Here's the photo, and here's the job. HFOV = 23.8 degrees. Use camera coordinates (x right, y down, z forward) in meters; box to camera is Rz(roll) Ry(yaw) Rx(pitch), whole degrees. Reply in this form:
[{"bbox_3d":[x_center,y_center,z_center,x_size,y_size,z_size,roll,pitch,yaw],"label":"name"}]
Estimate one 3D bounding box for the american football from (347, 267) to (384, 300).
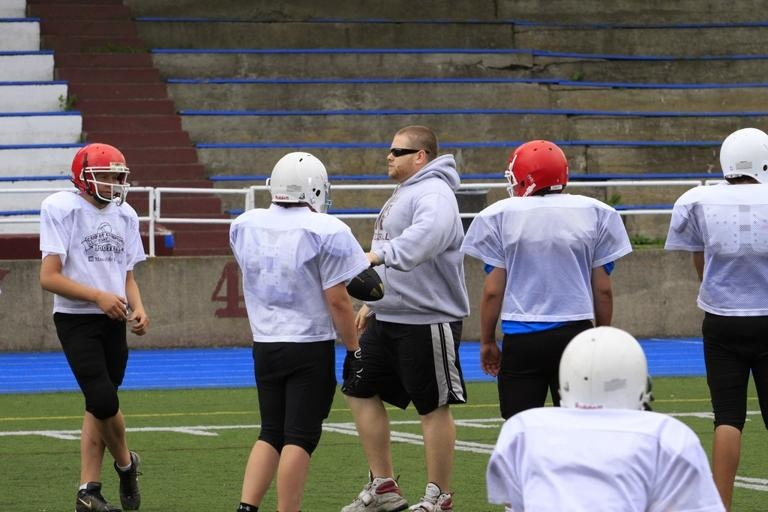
[{"bbox_3d":[-0.213,0.371,23.003,0.546,0.262,0.366,3,15,34],"label":"american football"}]
